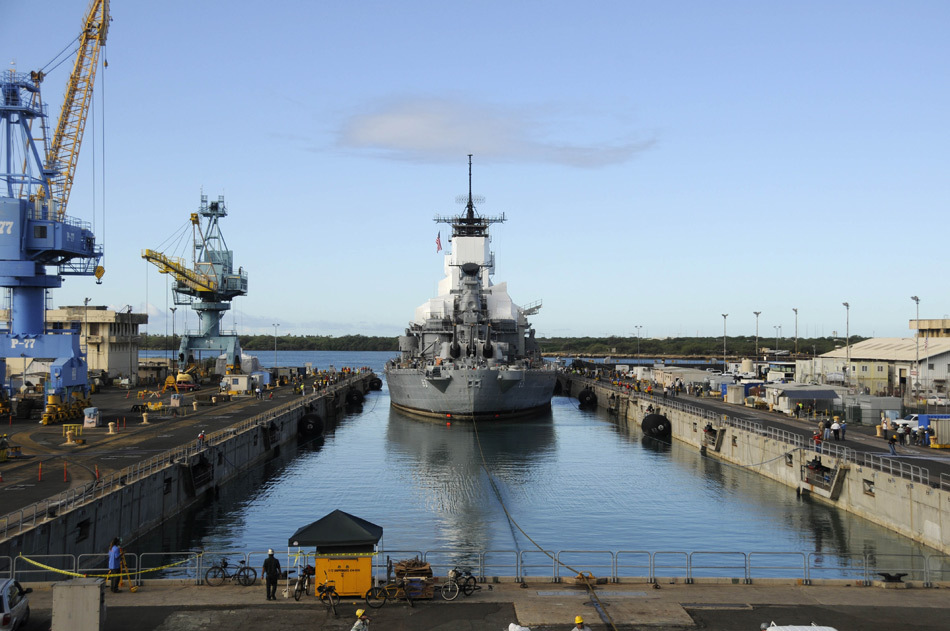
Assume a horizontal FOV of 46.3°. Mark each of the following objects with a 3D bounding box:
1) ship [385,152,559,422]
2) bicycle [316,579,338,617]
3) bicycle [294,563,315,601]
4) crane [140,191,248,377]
[{"bbox_3d":[-0.117,-2.286,118.062,15.127,17.823,33.901,0,14,0],"label":"ship"},{"bbox_3d":[-7.498,14.423,56.200,0.976,1.646,1.146,-2,0,-8],"label":"bicycle"},{"bbox_3d":[-8.887,13.848,57.591,1.377,1.691,1.056,-2,0,-29],"label":"bicycle"},{"bbox_3d":[-32.842,-3.992,127.124,8.044,21.424,27.078,0,-4,3],"label":"crane"}]
